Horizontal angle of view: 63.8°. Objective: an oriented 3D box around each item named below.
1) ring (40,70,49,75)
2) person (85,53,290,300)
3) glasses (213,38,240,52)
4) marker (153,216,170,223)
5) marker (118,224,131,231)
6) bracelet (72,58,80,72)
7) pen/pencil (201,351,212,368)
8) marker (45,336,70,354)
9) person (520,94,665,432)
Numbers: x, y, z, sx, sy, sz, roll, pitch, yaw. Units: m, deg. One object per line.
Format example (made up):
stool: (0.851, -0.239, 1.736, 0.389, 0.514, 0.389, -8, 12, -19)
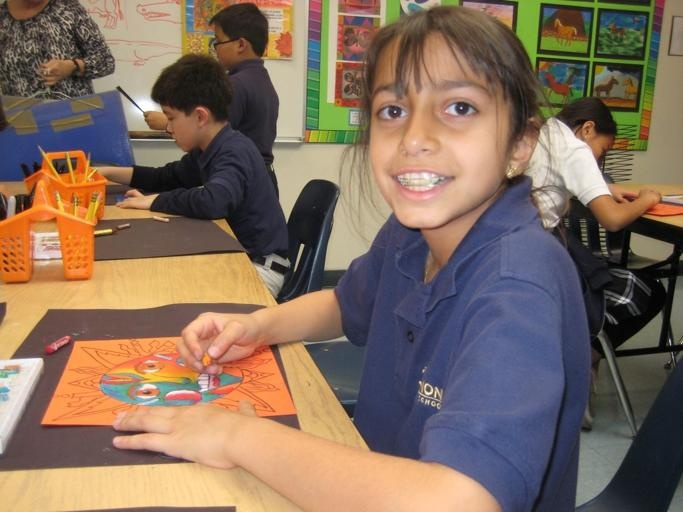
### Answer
ring: (-1.356, -0.838, 2.506, 0.019, 0.020, 0.020, 2, 11, 0)
person: (-0.572, -0.077, 2.097, 0.712, 1.287, 0.545, -2, 11, -11)
glasses: (-0.613, -1.119, 2.881, 0.136, 0.043, 0.137, -5, 19, -8)
marker: (-0.546, -0.112, 1.657, 0.074, 0.021, 0.015, 5, 27, 45)
marker: (-0.612, -0.084, 1.541, 0.042, 0.016, 0.014, -14, 32, -44)
bracelet: (-1.253, -0.909, 2.611, 0.042, 0.044, 0.043, -2, -10, -3)
pen/pencil: (-0.203, 0.154, 0.820, 0.015, 0.017, 0.015, -10, 54, -20)
marker: (-0.438, 0.136, 0.850, 0.012, 0.012, 0.041, -13, 11, 16)
person: (0.956, 0.014, 2.190, 0.641, 1.289, 0.485, -1, 1, 3)
